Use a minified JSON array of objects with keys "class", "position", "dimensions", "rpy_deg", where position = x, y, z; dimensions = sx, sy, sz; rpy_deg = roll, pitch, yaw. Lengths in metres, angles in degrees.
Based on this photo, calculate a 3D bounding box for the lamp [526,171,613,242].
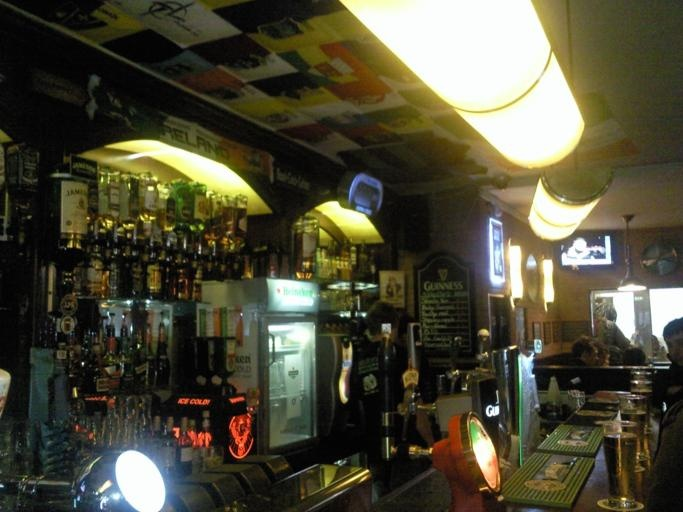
[{"class":"lamp","position":[1.866,-0.412,5.093],"dimensions":[0.441,0.414,0.706],"rpy_deg":[12,-8,17]}]

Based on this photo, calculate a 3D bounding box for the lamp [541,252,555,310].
[{"class":"lamp","position":[3.411,0.439,10.195],"dimensions":[0.159,0.890,0.633],"rpy_deg":[-4,-6,22]}]

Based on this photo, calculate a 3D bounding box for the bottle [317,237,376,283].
[{"class":"bottle","position":[0.020,0.086,7.032],"dimensions":[0.293,0.387,1.106],"rpy_deg":[-2,-8,21]}]

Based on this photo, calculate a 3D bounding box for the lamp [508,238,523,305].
[{"class":"lamp","position":[2.412,0.228,8.573],"dimensions":[0.129,0.831,0.432],"rpy_deg":[-4,-6,26]}]

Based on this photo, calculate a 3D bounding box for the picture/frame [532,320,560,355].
[{"class":"picture/frame","position":[3.283,1.305,9.934],"dimensions":[0.086,0.561,1.773],"rpy_deg":[-4,-6,27]}]

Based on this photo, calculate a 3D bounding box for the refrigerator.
[{"class":"refrigerator","position":[-0.656,0.877,5.125],"dimensions":[0.571,1.353,1.073],"rpy_deg":[-4,-6,26]}]

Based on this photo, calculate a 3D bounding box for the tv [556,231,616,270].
[{"class":"tv","position":[4.176,-0.095,10.391],"dimensions":[0.697,0.472,0.091],"rpy_deg":[-1,-5,25]}]

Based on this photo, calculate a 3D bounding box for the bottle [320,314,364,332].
[{"class":"bottle","position":[0.017,0.662,6.074],"dimensions":[0.178,0.195,0.682],"rpy_deg":[-4,-6,29]}]

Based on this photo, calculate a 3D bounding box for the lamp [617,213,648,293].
[{"class":"lamp","position":[4.637,-0.020,9.897],"dimensions":[0.403,1.085,1.665],"rpy_deg":[-4,-6,24]}]

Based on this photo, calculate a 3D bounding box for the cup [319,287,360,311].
[{"class":"cup","position":[-0.002,0.467,6.770],"dimensions":[0.141,0.218,0.587],"rpy_deg":[-5,-7,35]}]

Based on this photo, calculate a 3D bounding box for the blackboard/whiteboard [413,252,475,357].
[{"class":"blackboard/whiteboard","position":[1.265,0.582,7.582],"dimensions":[0.721,1.248,0.198],"rpy_deg":[-2,-6,12]}]
